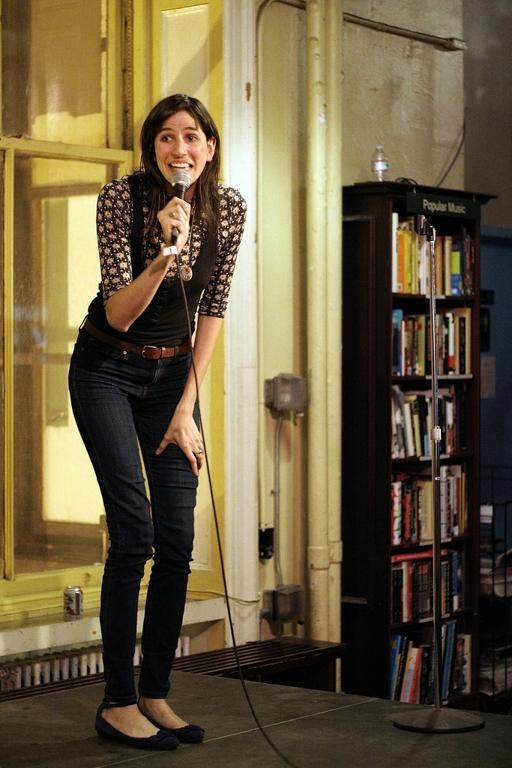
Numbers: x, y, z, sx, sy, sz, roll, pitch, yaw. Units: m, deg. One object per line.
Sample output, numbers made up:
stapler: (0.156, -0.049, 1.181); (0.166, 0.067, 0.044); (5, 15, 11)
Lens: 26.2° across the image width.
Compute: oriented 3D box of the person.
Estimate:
person: (-0.174, 0.072, 2.335); (0.404, 1.404, 0.505); (1, -5, -17)

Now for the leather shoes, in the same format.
leather shoes: (-0.235, 0.714, 2.370); (0.163, 0.063, 0.111); (0, -3, 25)

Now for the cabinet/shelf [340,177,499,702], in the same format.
cabinet/shelf: (0.617, 0.248, 4.388); (0.873, 2.089, 0.381); (4, -7, -43)
